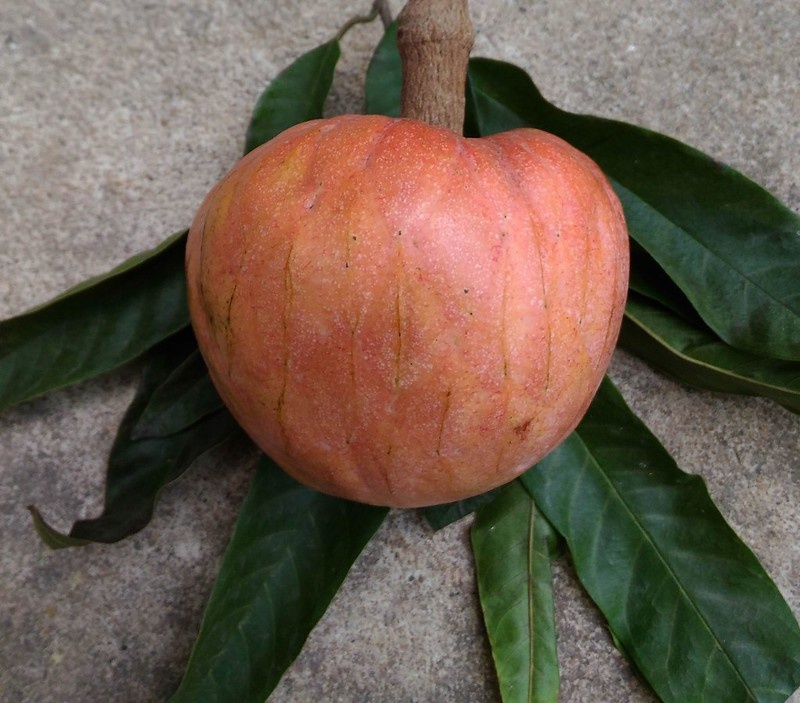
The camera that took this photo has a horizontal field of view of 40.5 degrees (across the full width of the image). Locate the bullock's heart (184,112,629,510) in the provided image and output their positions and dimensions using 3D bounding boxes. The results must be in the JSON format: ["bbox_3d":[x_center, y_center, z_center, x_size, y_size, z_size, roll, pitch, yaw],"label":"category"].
[{"bbox_3d":[0.008,-0.047,1.298,0.442,0.399,0.400,3,100,-5],"label":"bullock's heart"}]
